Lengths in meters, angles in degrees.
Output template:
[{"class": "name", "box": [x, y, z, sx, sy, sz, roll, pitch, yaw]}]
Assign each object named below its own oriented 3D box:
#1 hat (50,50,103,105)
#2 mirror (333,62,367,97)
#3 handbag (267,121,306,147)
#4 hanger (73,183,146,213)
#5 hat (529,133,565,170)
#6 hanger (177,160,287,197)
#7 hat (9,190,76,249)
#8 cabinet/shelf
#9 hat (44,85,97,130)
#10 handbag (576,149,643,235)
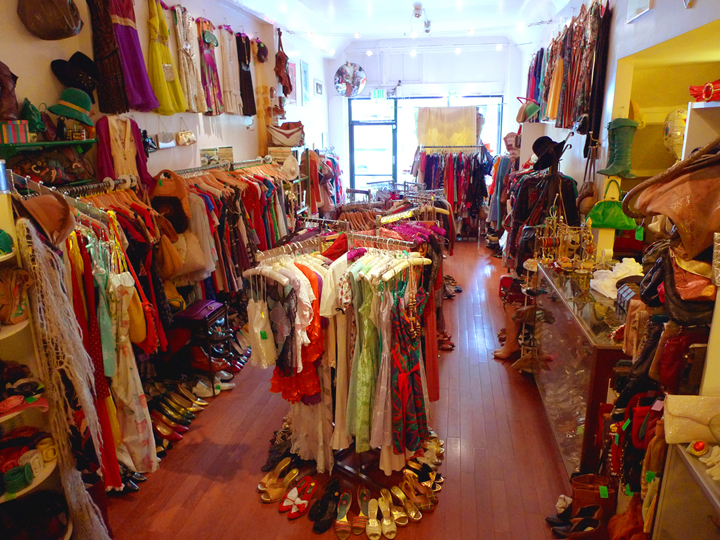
[{"class": "hat", "box": [-2.067, -1.410, 3.696, 0.107, 0.308, 0.260, -15, 24, 42]}, {"class": "mirror", "box": [-0.176, -3.369, 8.852, 0.503, 0.558, 0.298, -5, 14, -12]}, {"class": "handbag", "box": [-0.965, -1.769, 6.560, 0.296, 0.223, 0.419, -1, 11, 2]}, {"class": "hanger", "box": [-1.793, -0.528, 3.623, 0.135, 0.186, 0.482, 9, 13, 32]}, {"class": "hat", "box": [1.755, -1.100, 4.751, 0.252, 0.326, 0.460, 0, 14, 9]}, {"class": "hanger", "box": [-1.333, -0.991, 5.362, 0.636, 0.257, 1.943, 2, 15, 14]}, {"class": "hat", "box": [-1.594, -0.263, 2.547, 0.138, 0.264, 0.248, 11, 19, 42]}, {"class": "cabinet/shelf", "box": [1.348, 0.574, 2.631, 0.373, 1.557, 0.835, -4, 22, 8]}, {"class": "hat", "box": [-2.058, -1.167, 3.583, 0.249, 0.153, 0.248, 31, 7, 21]}, {"class": "handbag", "box": [2.065, -0.523, 4.101, 0.462, 0.514, 0.827, 4, 16, 24]}]
